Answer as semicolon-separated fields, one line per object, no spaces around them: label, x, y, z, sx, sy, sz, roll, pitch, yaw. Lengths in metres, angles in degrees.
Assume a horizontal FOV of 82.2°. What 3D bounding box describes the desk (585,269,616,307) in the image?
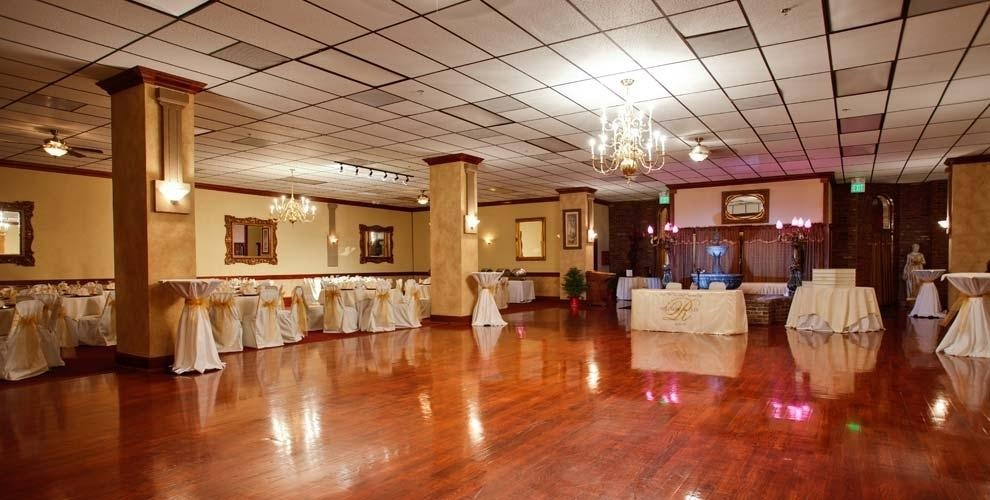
desk;4.048;1.366;21.007;1.399;1.189;1.352;2;-5;-25

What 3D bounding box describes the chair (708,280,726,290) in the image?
chair;5.719;0.922;14.738;0.322;0.378;0.296;-3;-9;24

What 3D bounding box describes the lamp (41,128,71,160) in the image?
lamp;-10.614;-2.616;13.770;0.823;0.692;0.780;-1;-4;-34

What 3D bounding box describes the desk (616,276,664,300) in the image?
desk;5.372;1.372;21.992;1.294;0.681;1.253;-1;-2;26

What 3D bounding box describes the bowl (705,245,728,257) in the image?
bowl;6.859;0.011;17.520;0.541;0.294;0.497;-2;2;0

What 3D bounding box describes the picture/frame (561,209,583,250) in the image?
picture/frame;2.888;-0.765;21.468;0.133;1.573;0.963;-3;4;-39

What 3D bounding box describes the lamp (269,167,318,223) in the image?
lamp;-7.682;-1.746;20.399;1.923;2.129;1.771;1;6;1

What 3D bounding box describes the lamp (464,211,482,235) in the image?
lamp;-0.718;-0.781;16.292;0.100;0.588;0.439;-3;-2;40

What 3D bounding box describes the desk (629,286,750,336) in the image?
desk;5.064;1.585;14.908;2.924;0.961;1.030;-3;-1;39

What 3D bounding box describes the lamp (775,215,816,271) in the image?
lamp;9.569;-0.160;18.170;1.148;1.592;1.162;5;-10;-37

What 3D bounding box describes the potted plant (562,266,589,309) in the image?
potted plant;2.870;1.326;20.599;0.885;1.083;1.763;-2;-1;6

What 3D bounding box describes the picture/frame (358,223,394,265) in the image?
picture/frame;-5.011;-0.234;24.039;0.114;1.669;1.980;-2;-2;36

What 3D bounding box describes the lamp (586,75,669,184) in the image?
lamp;3.050;-2.797;13.099;1.854;2.137;1.717;-4;5;-23

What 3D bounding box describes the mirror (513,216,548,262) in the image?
mirror;1.432;-0.441;23.038;1.250;1.214;0.191;-2;-1;32

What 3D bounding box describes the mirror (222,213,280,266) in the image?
mirror;-8.769;-0.348;20.573;0.131;1.788;2.131;-1;-1;33

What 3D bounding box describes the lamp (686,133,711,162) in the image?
lamp;5.172;-2.582;14.468;0.341;0.534;1.136;-2;-2;23

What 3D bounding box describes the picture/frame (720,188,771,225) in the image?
picture/frame;8.420;-1.452;19.047;1.458;1.085;0.110;0;-4;25
